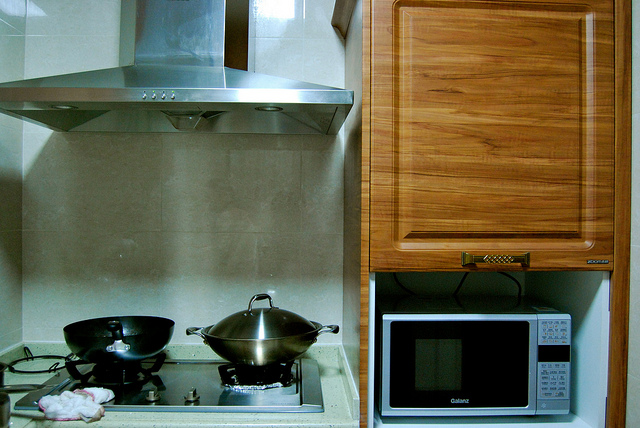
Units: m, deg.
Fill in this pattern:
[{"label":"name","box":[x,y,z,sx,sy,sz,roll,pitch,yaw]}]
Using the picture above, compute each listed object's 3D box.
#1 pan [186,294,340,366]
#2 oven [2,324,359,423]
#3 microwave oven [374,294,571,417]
[{"label":"pan","box":[-0.226,0.476,2.450,0.615,0.232,0.461,-2,2,-19]},{"label":"oven","box":[-0.600,0.614,2.393,1.468,0.333,0.517,1,-8,-2]},{"label":"microwave oven","box":[0.753,0.650,2.383,0.811,0.397,0.549,-13,-27,42]}]
